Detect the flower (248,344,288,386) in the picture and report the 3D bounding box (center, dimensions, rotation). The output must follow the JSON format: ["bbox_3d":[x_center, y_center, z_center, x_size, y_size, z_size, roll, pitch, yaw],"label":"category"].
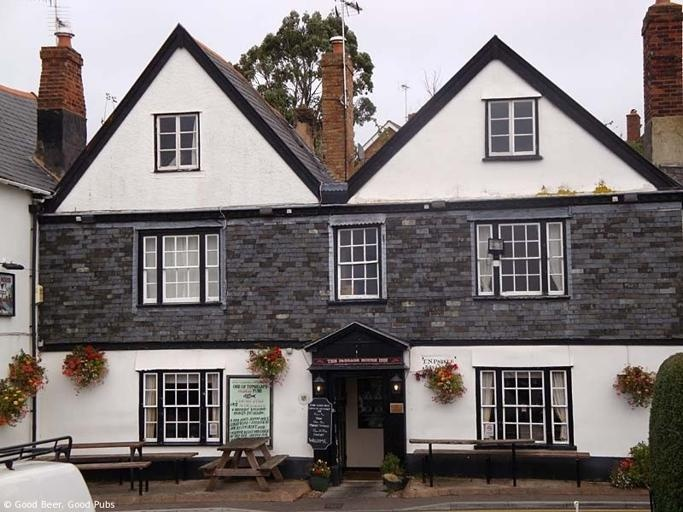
[{"bbox_3d":[-1.931,2.816,36.493,0.897,0.605,0.947,6,5,36],"label":"flower"}]

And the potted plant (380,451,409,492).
[{"bbox_3d":[1.334,5.491,35.387,0.653,1.009,0.727,-2,-8,3],"label":"potted plant"}]

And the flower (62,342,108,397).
[{"bbox_3d":[-6.753,2.963,37.076,1.149,1.278,0.491,0,-8,-12],"label":"flower"}]

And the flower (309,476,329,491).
[{"bbox_3d":[-0.550,5.811,35.451,0.361,0.287,0.367,4,-4,-35],"label":"flower"}]

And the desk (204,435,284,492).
[{"bbox_3d":[-2.458,5.265,35.419,1.292,0.857,1.606,-1,-5,9],"label":"desk"}]

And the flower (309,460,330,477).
[{"bbox_3d":[-0.555,5.442,35.642,0.367,0.403,0.435,4,-12,-10],"label":"flower"}]

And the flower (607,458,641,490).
[{"bbox_3d":[7.054,5.468,34.739,0.752,0.688,0.531,-4,-9,13],"label":"flower"}]

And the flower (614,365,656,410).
[{"bbox_3d":[7.356,3.293,35.241,0.931,1.103,0.344,-4,-8,12],"label":"flower"}]

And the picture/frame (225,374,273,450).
[{"bbox_3d":[-2.377,4.157,36.431,1.719,2.812,0.118,0,-6,1],"label":"picture/frame"}]
